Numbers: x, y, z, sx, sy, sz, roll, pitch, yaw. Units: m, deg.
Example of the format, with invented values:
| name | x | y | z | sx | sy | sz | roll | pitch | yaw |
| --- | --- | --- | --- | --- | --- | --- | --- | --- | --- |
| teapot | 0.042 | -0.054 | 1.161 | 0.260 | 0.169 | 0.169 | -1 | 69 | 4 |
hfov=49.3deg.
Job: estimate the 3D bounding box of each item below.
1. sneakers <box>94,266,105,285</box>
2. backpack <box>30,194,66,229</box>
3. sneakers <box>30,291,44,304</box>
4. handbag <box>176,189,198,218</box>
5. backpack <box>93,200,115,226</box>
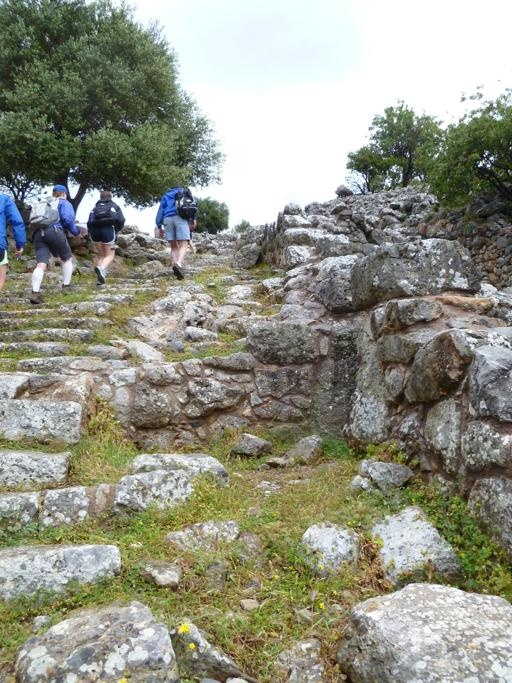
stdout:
| name | x | y | z | sx | sy | sz | roll | pitch | yaw |
| --- | --- | --- | --- | --- | --- | --- | --- | --- | --- |
| sneakers | -2.245 | -0.941 | 8.016 | 0.097 | 0.261 | 0.254 | -7 | 8 | -17 |
| backpack | -2.634 | -1.626 | 6.973 | 0.338 | 0.417 | 0.433 | -4 | 8 | 8 |
| sneakers | -2.591 | -0.507 | 6.548 | 0.172 | 0.158 | 0.134 | -5 | 8 | -5 |
| handbag | -0.996 | -2.000 | 8.112 | 0.260 | 0.457 | 0.354 | -1 | 9 | 25 |
| backpack | -2.255 | -1.911 | 8.270 | 0.337 | 0.373 | 0.177 | -6 | 8 | -13 |
